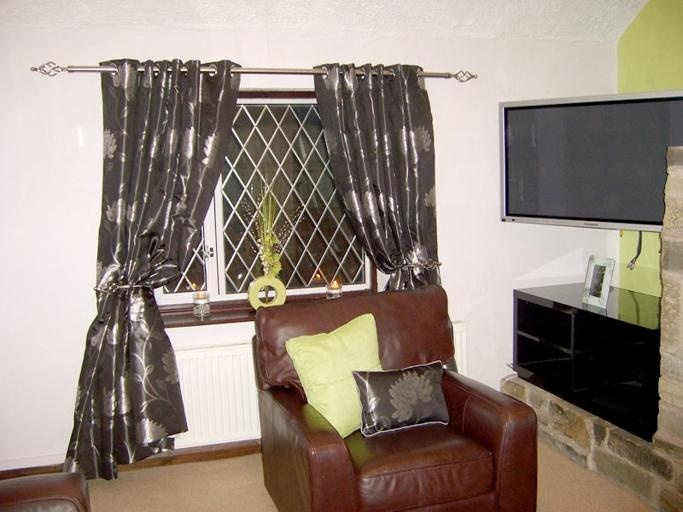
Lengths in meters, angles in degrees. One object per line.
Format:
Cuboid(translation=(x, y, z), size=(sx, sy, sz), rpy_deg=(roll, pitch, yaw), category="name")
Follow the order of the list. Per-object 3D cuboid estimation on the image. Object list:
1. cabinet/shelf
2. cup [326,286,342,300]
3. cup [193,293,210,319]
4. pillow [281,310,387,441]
Cuboid(translation=(1.699, 0.596, 3.709), size=(0.510, 0.723, 0.998), rpy_deg=(-15, 18, -31), category="cabinet/shelf")
Cuboid(translation=(-0.062, 0.255, 3.729), size=(0.069, 0.077, 0.074), rpy_deg=(2, -3, 0), category="cup")
Cuboid(translation=(-0.941, 0.325, 3.676), size=(0.111, 0.166, 0.121), rpy_deg=(-4, 8, 1), category="cup")
Cuboid(translation=(-0.061, 0.665, 3.010), size=(0.536, 0.548, 0.163), rpy_deg=(-12, -10, -47), category="pillow")
